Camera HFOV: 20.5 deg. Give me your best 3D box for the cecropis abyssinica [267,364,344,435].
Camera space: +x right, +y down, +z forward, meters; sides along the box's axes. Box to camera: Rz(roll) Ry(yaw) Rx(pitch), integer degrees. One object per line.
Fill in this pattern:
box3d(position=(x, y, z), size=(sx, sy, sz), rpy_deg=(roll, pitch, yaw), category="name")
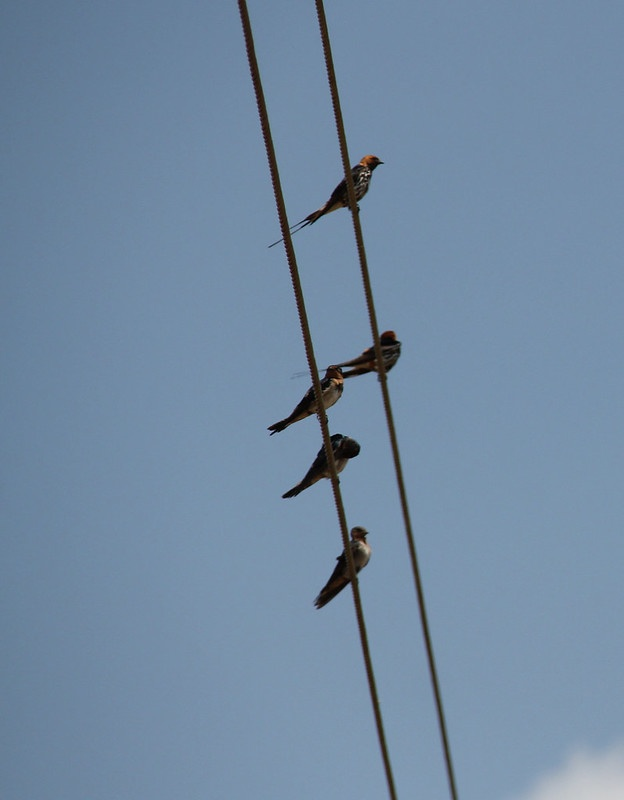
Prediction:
box3d(position=(0.005, 0.010, 4.670), size=(0.220, 0.064, 0.105), rpy_deg=(-33, 68, -12), category="cecropis abyssinica")
